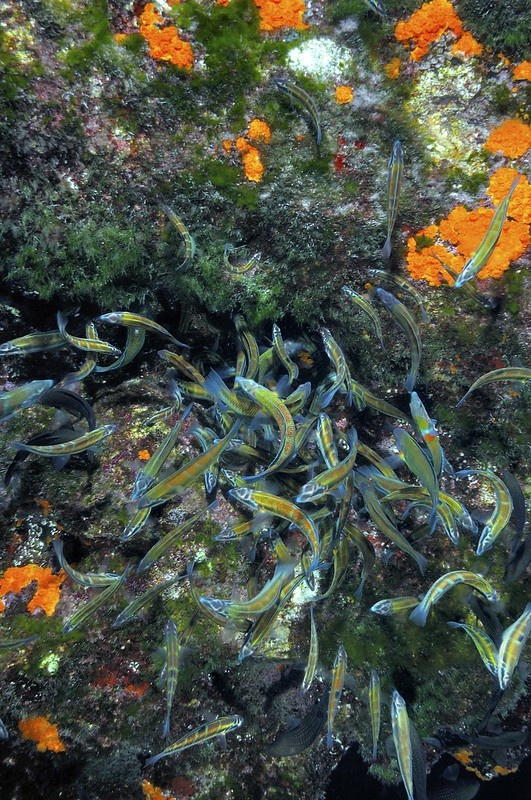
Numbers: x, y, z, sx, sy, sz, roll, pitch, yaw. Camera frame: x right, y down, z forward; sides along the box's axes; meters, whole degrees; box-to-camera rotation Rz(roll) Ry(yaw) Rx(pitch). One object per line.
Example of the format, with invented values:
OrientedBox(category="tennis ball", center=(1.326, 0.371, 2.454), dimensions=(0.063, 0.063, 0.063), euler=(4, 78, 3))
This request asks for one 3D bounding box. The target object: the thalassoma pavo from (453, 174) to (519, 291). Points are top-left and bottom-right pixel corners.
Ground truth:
OrientedBox(category="thalassoma pavo", center=(1.703, -1.322, 5.075), dimensions=(0.163, 0.159, 1.048), euler=(30, -83, -27))

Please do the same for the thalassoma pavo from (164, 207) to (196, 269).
OrientedBox(category="thalassoma pavo", center=(-0.693, -1.333, 5.386), dimensions=(0.143, 0.676, 0.123), euler=(-17, -34, 7))

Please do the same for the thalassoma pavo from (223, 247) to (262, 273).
OrientedBox(category="thalassoma pavo", center=(-0.211, -1.189, 5.730), dimensions=(0.318, 0.117, 0.173), euler=(2, -31, -9))
